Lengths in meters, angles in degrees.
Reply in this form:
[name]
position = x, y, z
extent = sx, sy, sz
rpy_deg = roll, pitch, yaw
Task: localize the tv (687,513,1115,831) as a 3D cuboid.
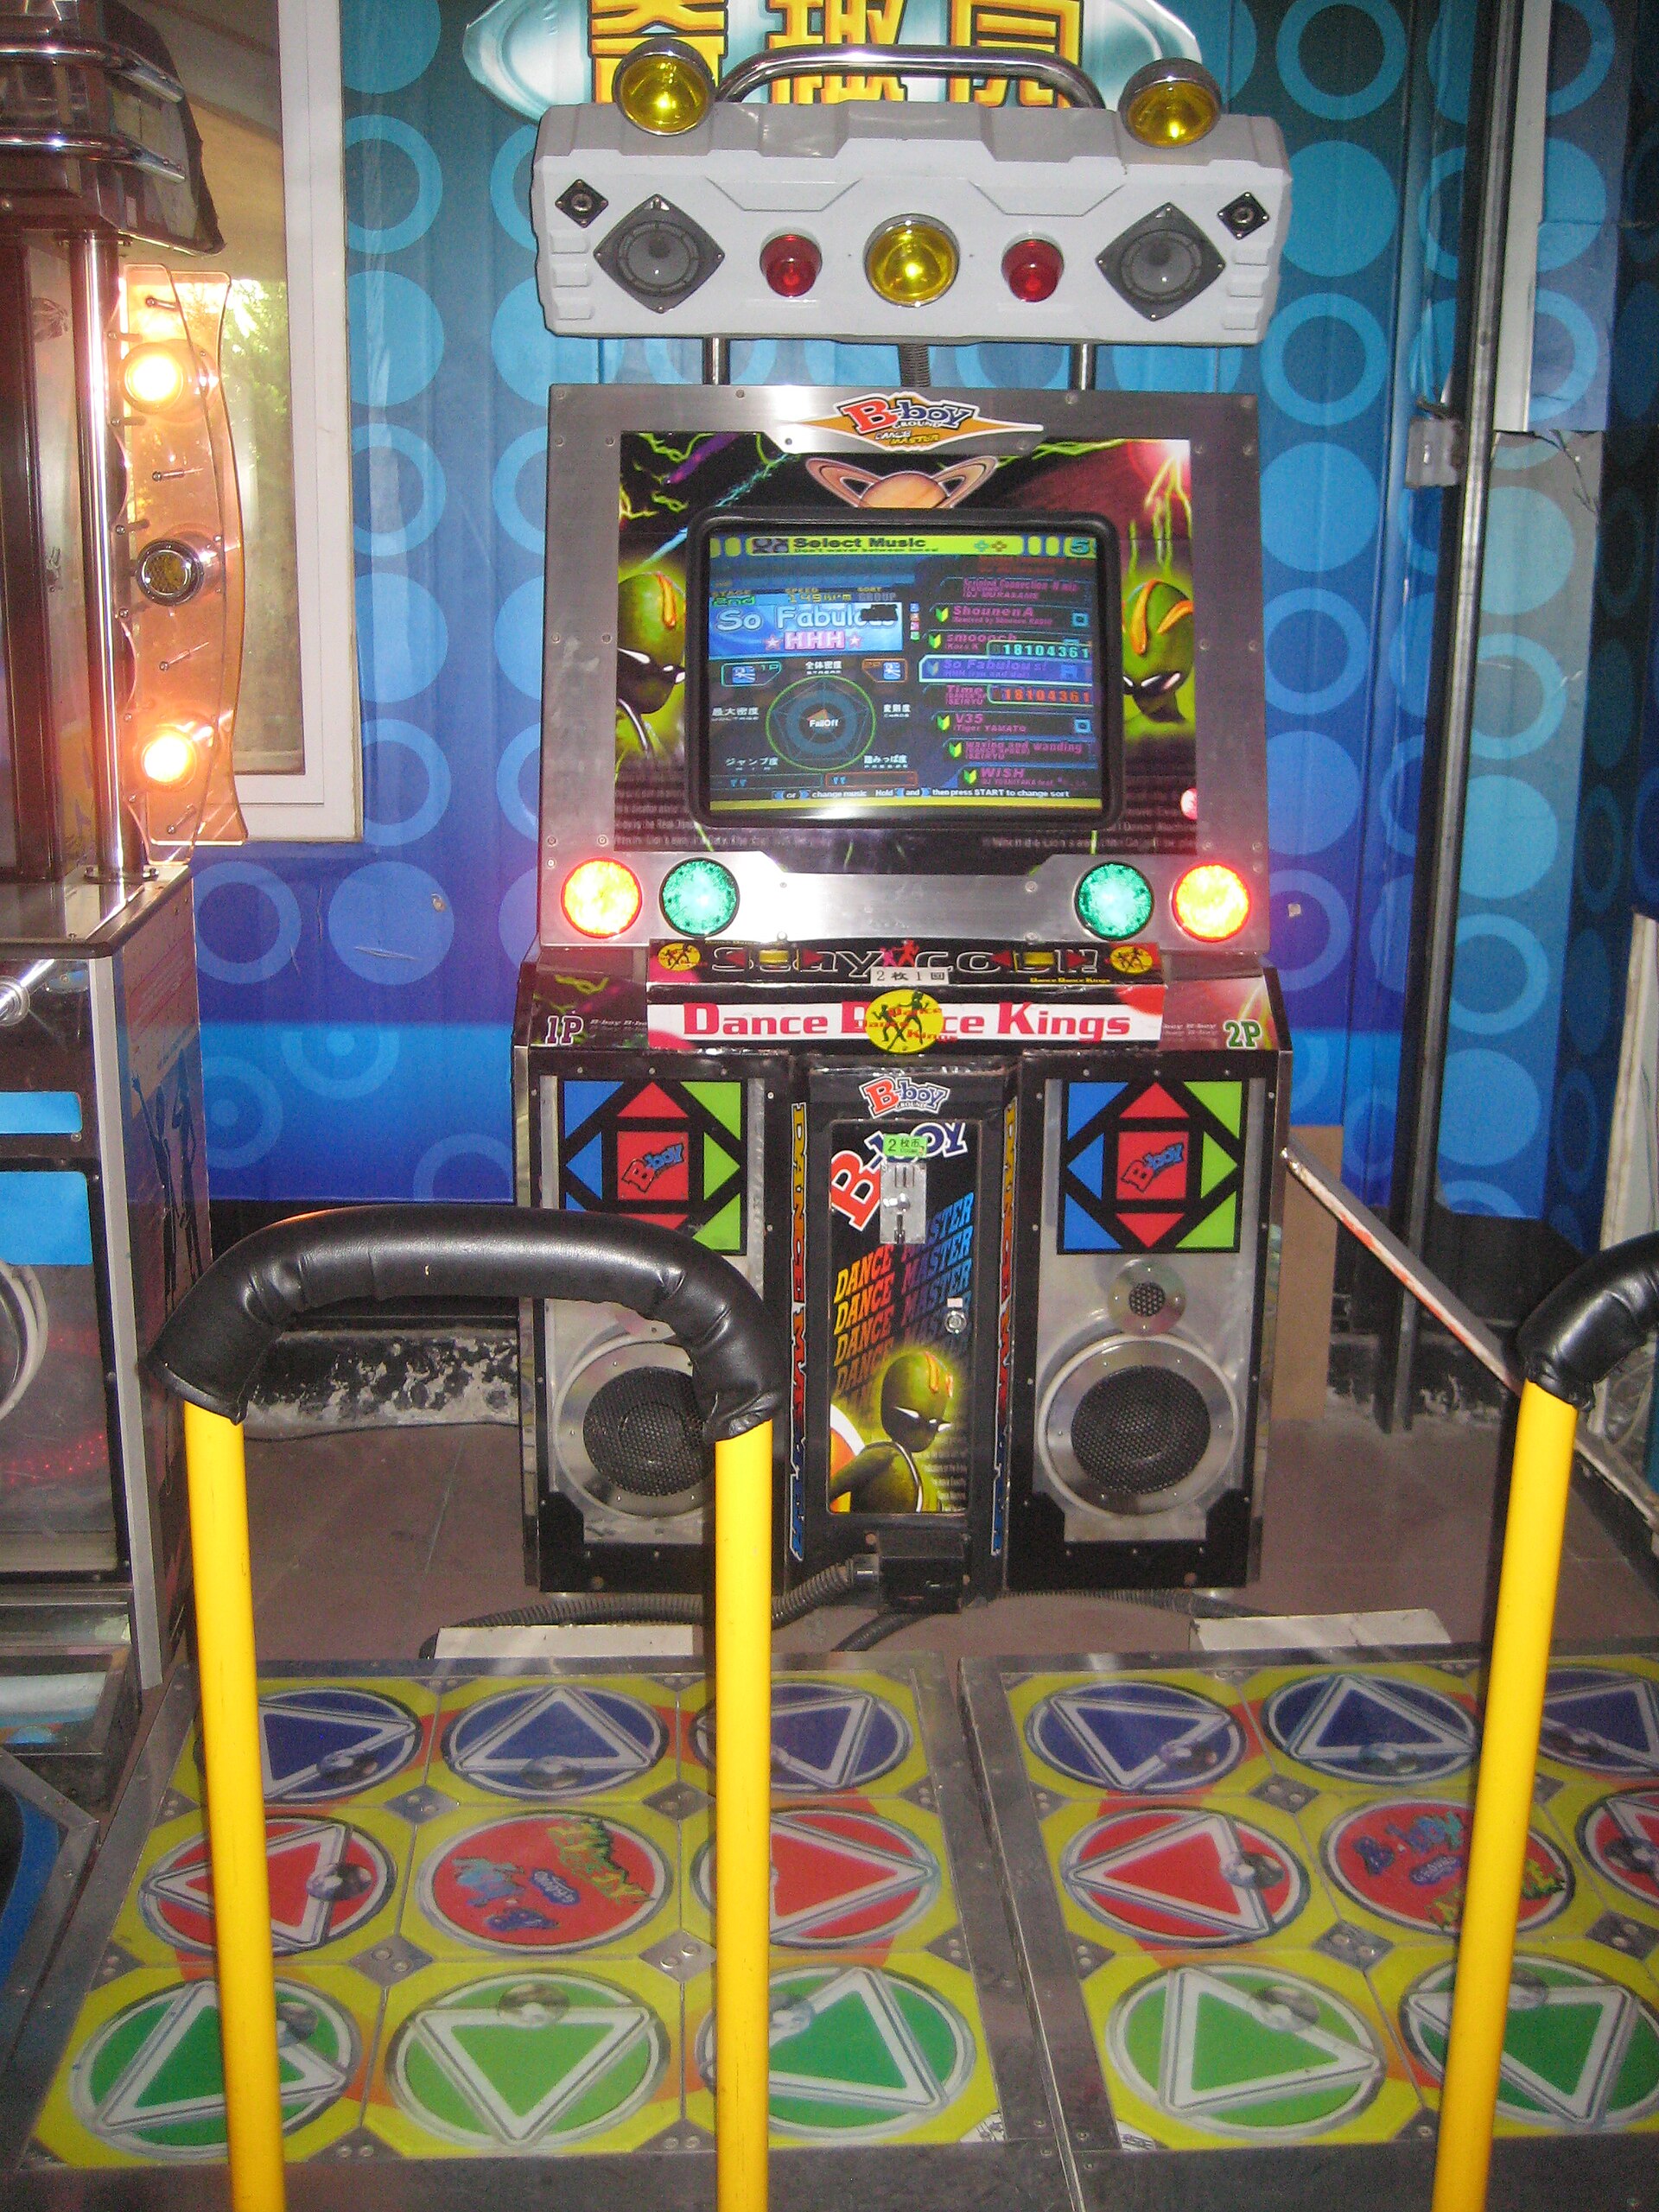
[tv]
position = 0.073, -0.626, 2.477
extent = 0.500, 0.328, 0.080
rpy_deg = 0, -1, -8
